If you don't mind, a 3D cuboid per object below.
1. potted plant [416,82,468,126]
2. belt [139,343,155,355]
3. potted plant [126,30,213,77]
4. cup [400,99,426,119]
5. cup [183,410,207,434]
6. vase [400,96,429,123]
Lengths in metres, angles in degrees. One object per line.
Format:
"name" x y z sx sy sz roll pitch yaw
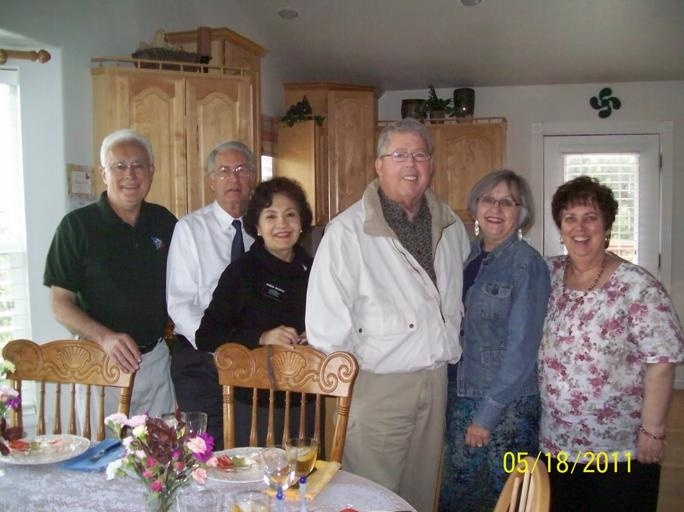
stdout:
"potted plant" 0.983 -1.490 6.013 0.428 0.371 0.332 -7 12 -23
"belt" -0.957 0.455 3.058 0.043 0.050 0.056 -19 -31 -30
"potted plant" -1.083 -1.241 3.884 0.316 0.194 0.325 9 9 43
"cup" 0.690 -1.404 5.953 0.199 0.169 0.225 1 -3 -30
"cup" -0.496 0.566 2.102 0.068 0.060 0.077 -1 -7 0
"vase" 0.688 -1.392 5.954 0.240 0.264 0.236 -1 4 10
